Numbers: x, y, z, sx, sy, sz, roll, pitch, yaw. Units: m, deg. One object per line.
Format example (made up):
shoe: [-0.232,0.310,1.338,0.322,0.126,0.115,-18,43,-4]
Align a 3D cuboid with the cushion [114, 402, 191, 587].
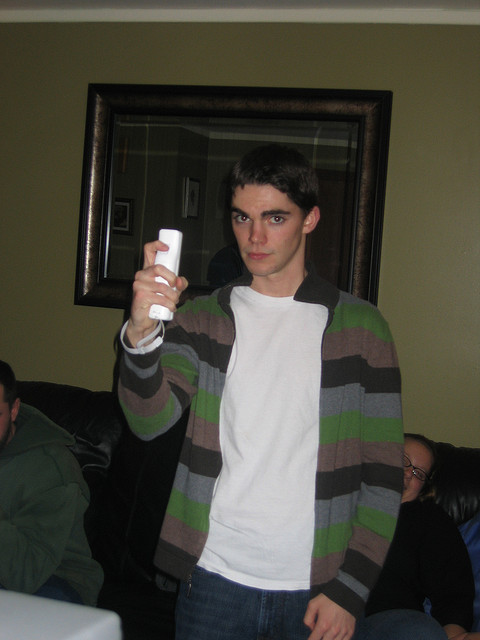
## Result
cushion: [-0.331,0.601,1.855,0.099,0.352,0.353,8,-14,14]

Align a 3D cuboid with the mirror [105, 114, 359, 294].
mirror: [-0.053,-0.465,2.181,1.050,0.687,0.155,7,9,7]

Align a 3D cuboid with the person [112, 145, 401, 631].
person: [0.074,0.117,1.073,0.512,0.924,0.414,9,10,14]
